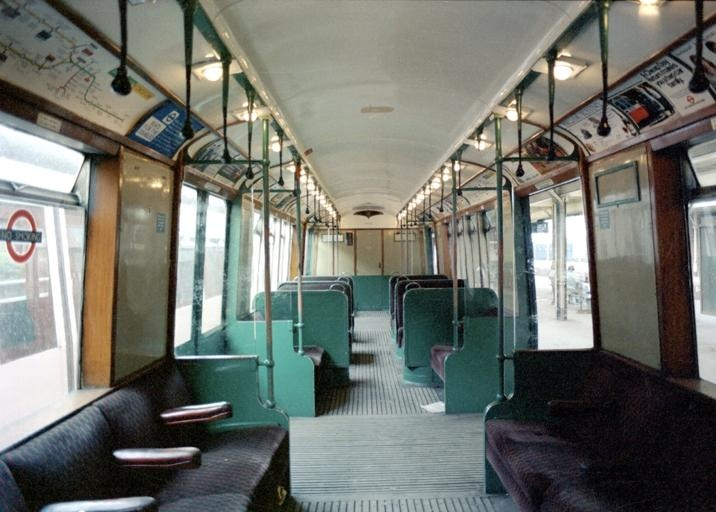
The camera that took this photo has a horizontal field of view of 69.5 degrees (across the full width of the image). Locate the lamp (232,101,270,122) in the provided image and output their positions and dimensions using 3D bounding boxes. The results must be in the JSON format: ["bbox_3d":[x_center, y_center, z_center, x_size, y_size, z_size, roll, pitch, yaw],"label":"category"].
[{"bbox_3d":[-1.068,-1.442,5.195,0.270,0.126,0.247,-2,-10,-23],"label":"lamp"}]

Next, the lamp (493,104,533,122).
[{"bbox_3d":[1.569,-1.452,5.283,0.405,0.112,0.371,0,7,7],"label":"lamp"}]

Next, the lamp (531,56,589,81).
[{"bbox_3d":[1.732,-1.590,4.364,0.206,0.074,0.204,6,-9,-27],"label":"lamp"}]

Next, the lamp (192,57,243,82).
[{"bbox_3d":[-1.210,-1.595,4.424,0.416,0.125,0.342,0,7,7],"label":"lamp"}]

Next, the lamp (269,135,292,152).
[{"bbox_3d":[-0.939,-1.313,6.125,0.336,0.182,0.135,-2,2,-5],"label":"lamp"}]
